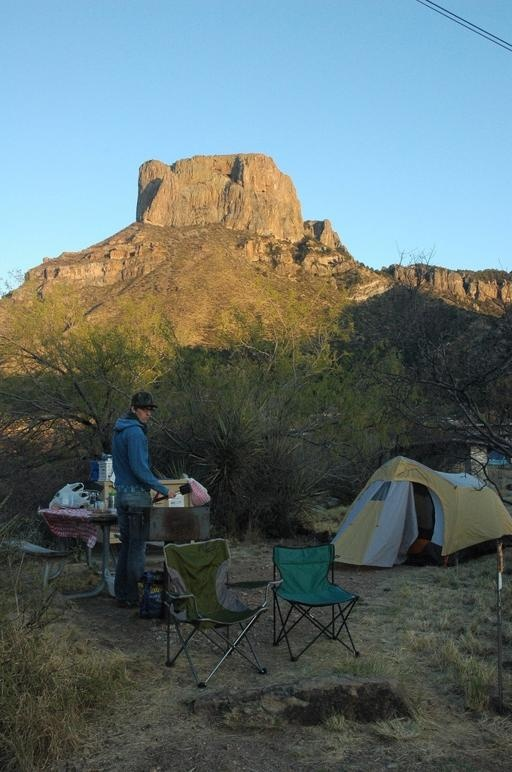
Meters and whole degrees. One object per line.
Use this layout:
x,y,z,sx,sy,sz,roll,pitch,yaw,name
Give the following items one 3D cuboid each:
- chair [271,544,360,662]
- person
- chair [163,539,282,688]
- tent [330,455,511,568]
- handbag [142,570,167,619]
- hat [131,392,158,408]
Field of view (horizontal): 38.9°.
0.401,1.471,4.930,0.523,0.709,0.516,-2,-6,1,chair
-0.899,0.878,5.485,0.368,1.666,0.678,4,-3,-22,person
-0.231,1.390,4.506,0.599,0.799,0.563,-1,-6,-16,chair
2.018,1.374,8.365,1.159,0.911,1.866,-4,-8,41,tent
-0.763,1.576,5.445,0.198,0.456,0.325,1,-12,-1,handbag
-0.891,0.118,5.610,0.122,0.098,0.164,6,-5,-40,hat
